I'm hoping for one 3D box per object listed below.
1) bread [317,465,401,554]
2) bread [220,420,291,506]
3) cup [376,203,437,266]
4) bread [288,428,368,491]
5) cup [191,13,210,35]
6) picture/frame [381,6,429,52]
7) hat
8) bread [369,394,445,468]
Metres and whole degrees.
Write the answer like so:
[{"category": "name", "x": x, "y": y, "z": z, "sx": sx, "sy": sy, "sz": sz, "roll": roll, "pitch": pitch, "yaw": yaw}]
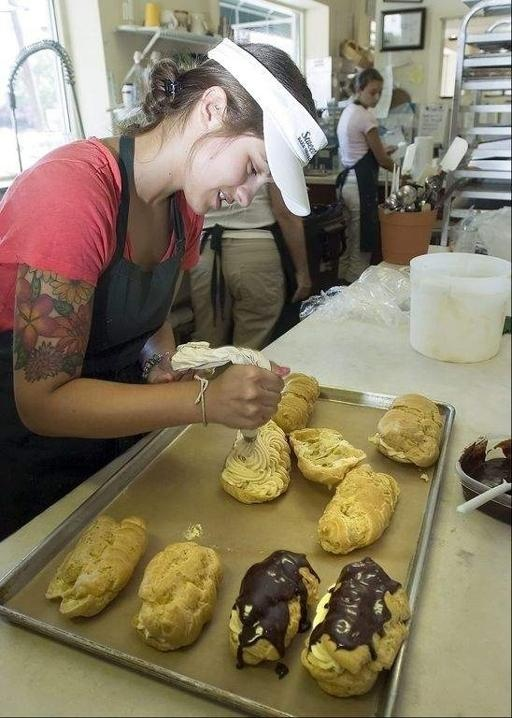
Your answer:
[{"category": "bread", "x": 0.135, "y": 0.193, "z": 0.675, "sx": 0.063, "sy": 0.036, "sz": 0.124, "roll": 5, "pitch": 18, "yaw": 26}, {"category": "bread", "x": 0.003, "y": 0.158, "z": 0.790, "sx": 0.071, "sy": 0.049, "sz": 0.118, "roll": 2, "pitch": 23, "yaw": 8}, {"category": "cup", "x": 0.421, "y": -0.374, "z": 1.495, "sx": 0.171, "sy": 0.145, "sz": 0.179, "roll": -2, "pitch": 21, "yaw": 1}, {"category": "bread", "x": 0.106, "y": 0.149, "z": 0.816, "sx": 0.076, "sy": 0.034, "sz": 0.101, "roll": -12, "pitch": 26, "yaw": -21}, {"category": "cup", "x": -0.285, "y": -1.684, "z": 2.548, "sx": 0.078, "sy": 0.093, "sz": 0.043, "roll": 9, "pitch": 29, "yaw": 25}, {"category": "picture/frame", "x": 0.334, "y": -0.734, "z": 1.124, "sx": 0.008, "sy": 0.083, "sz": 0.105, "roll": -31, "pitch": 46, "yaw": -29}, {"category": "hat", "x": 0.019, "y": -0.337, "z": 0.758, "sx": 0.169, "sy": 0.255, "sz": 0.133, "roll": -4, "pitch": 26, "yaw": 1}, {"category": "bread", "x": 0.255, "y": 0.117, "z": 0.834, "sx": 0.089, "sy": 0.043, "sz": 0.158, "roll": 8, "pitch": 28, "yaw": 24}]
